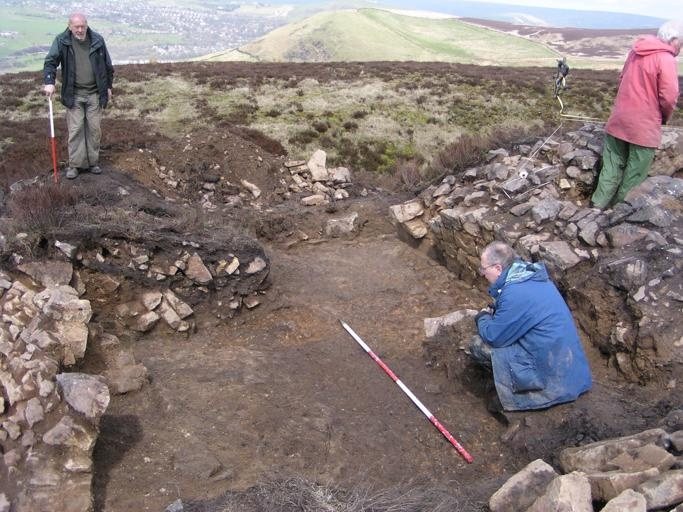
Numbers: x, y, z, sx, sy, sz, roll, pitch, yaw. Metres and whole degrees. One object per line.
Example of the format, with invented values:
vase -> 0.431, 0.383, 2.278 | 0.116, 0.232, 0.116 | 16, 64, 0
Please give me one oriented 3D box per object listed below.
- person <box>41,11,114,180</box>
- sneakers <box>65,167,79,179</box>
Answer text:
person -> -5.073, -3.030, 9.731 | 1.264, 3.052, 0.720 | -15, 35, -37
sneakers -> -5.518, -1.665, 10.170 | 0.175, 0.161, 0.386 | -1, 15, -20
